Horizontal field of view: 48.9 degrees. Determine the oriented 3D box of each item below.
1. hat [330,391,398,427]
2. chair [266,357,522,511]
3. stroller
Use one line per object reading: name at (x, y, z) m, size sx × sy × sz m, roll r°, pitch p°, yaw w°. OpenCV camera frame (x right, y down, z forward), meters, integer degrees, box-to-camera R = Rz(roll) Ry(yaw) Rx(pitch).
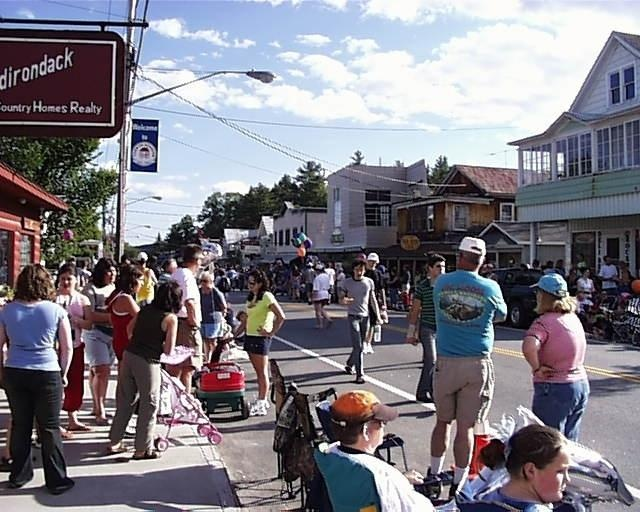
hat at (0.316, 1.112, 5.097) m, size 0.470 × 0.242 × 0.223 m, roll 1°, pitch 0°, yaw -3°
chair at (0.417, 1.740, 6.757) m, size 1.607 × 2.464 × 1.493 m, roll -9°, pitch -3°, yaw -10°
stroller at (-1.573, 1.932, 8.580) m, size 1.070 × 0.933 × 0.788 m, roll 3°, pitch 1°, yaw -10°
